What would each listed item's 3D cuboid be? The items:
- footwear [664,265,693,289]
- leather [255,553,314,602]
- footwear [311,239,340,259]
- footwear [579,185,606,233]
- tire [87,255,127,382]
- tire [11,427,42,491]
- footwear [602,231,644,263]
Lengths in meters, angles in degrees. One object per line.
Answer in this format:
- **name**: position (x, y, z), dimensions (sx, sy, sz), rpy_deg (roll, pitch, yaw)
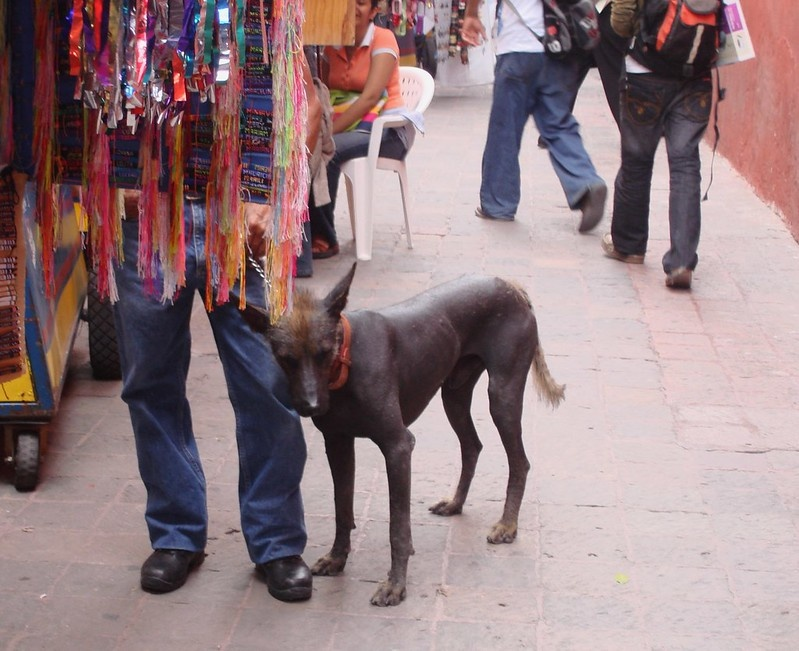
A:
- **footwear**: position (1.825, -0.305, 6.732), dimensions (0.099, 0.085, 0.187), rpy_deg (-1, -8, 8)
- **leather**: position (-0.411, 0.922, 3.776), dimensions (0.095, 0.120, 0.271), rpy_deg (-5, 3, -35)
- **footwear**: position (-0.551, -0.548, 7.403), dimensions (0.158, 0.109, 0.380), rpy_deg (1, 6, 5)
- **footwear**: position (1.457, -0.880, 7.692), dimensions (0.144, 0.369, 0.167), rpy_deg (13, 32, -3)
- **tire**: position (-1.271, -0.038, 4.446), dimensions (0.177, 0.488, 0.510), rpy_deg (-4, 12, -10)
- **tire**: position (-1.608, 0.570, 4.414), dimensions (0.100, 0.259, 0.273), rpy_deg (3, -3, -11)
- **footwear**: position (1.563, -0.549, 7.378), dimensions (0.136, 0.140, 0.364), rpy_deg (-21, 39, -28)
